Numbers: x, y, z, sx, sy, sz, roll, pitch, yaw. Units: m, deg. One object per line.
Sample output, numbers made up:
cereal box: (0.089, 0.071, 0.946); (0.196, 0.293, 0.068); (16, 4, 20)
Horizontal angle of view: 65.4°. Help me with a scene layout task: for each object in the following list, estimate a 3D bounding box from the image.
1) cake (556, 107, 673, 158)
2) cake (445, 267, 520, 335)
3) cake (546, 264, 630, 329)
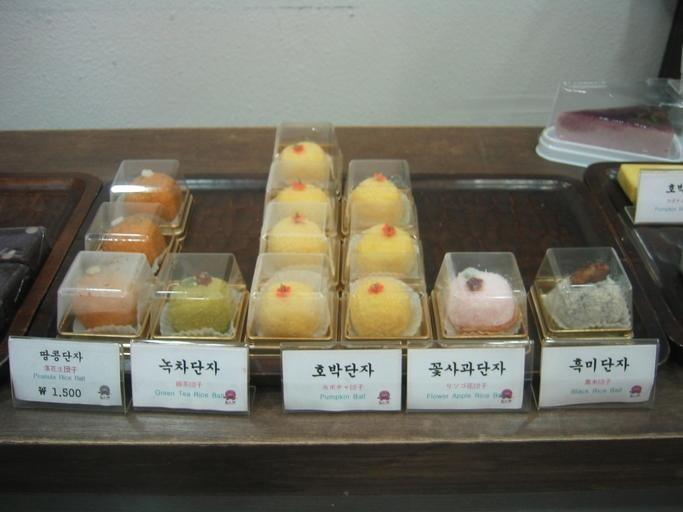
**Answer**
cake: (0.739, -0.325, 1.451); (0.215, 0.064, 0.169); (9, 42, 15)
cake: (0.277, 0.085, 1.059); (0.120, 0.077, 0.127); (4, 46, 3)
cake: (0.493, 0.082, 1.045); (0.110, 0.048, 0.109); (-2, 35, 8)
